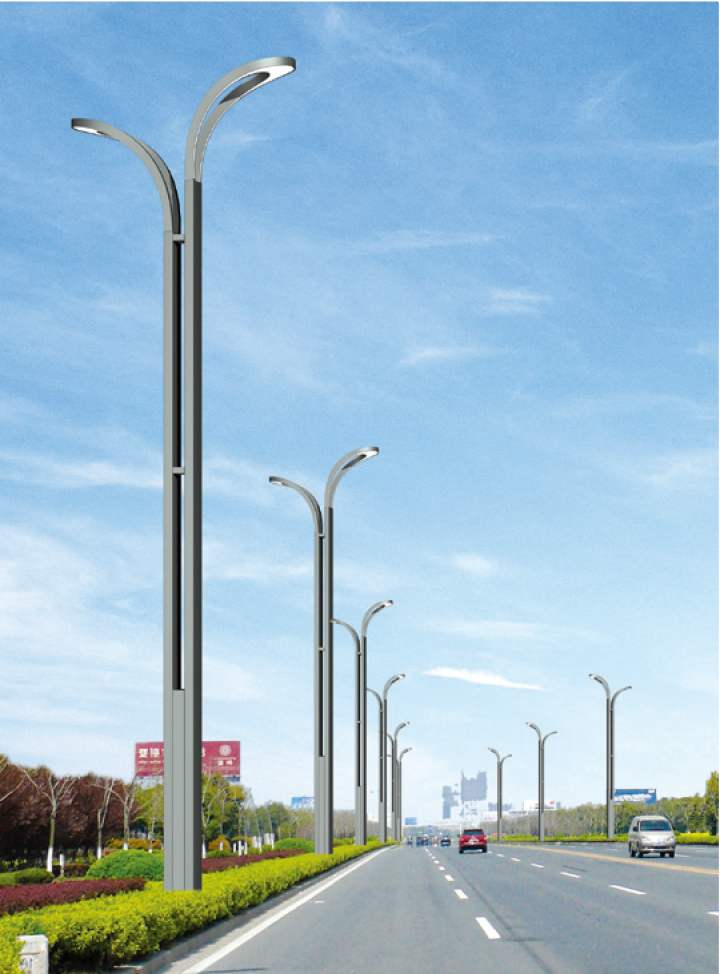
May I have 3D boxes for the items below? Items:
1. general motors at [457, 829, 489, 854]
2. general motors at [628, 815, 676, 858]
[{"bbox_3d":[4.517,14.421,51.998,0.819,0.810,1.516,1,-10,0],"label":"general motors"},{"bbox_3d":[8.328,10.099,37.156,1.202,1.201,1.535,-1,-16,2],"label":"general motors"}]
